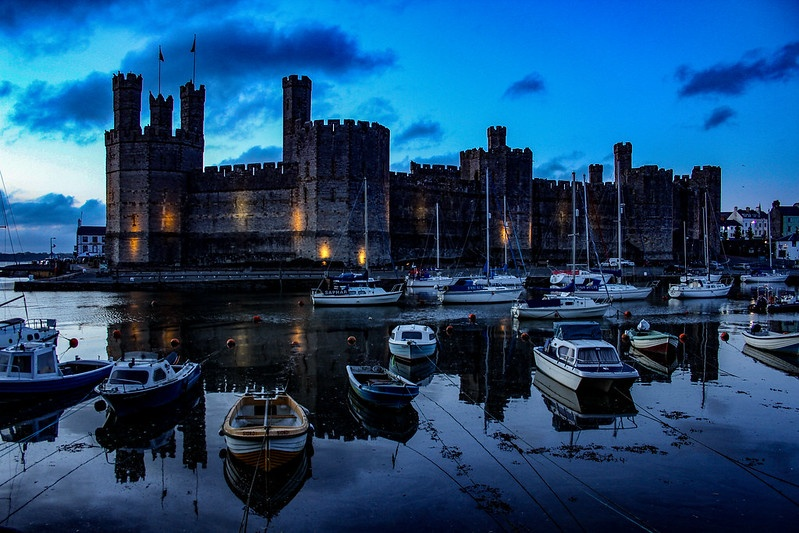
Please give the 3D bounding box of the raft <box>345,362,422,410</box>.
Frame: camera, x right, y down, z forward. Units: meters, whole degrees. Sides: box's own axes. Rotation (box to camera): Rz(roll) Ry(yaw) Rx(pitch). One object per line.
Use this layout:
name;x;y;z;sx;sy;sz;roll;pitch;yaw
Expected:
raft;-0.661;4.565;30.644;1.782;1.216;2.696;-3;2;-28

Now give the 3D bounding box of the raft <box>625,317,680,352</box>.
raft;11.488;3.367;37.967;1.078;0.904;2.784;-11;-3;-3

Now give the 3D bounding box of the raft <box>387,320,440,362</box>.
raft;0.598;3.389;35.795;1.992;1.408;1.476;-2;2;2

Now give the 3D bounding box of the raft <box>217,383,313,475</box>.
raft;-4.409;5.542;27.414;2.697;2.315;1.924;-2;2;7
